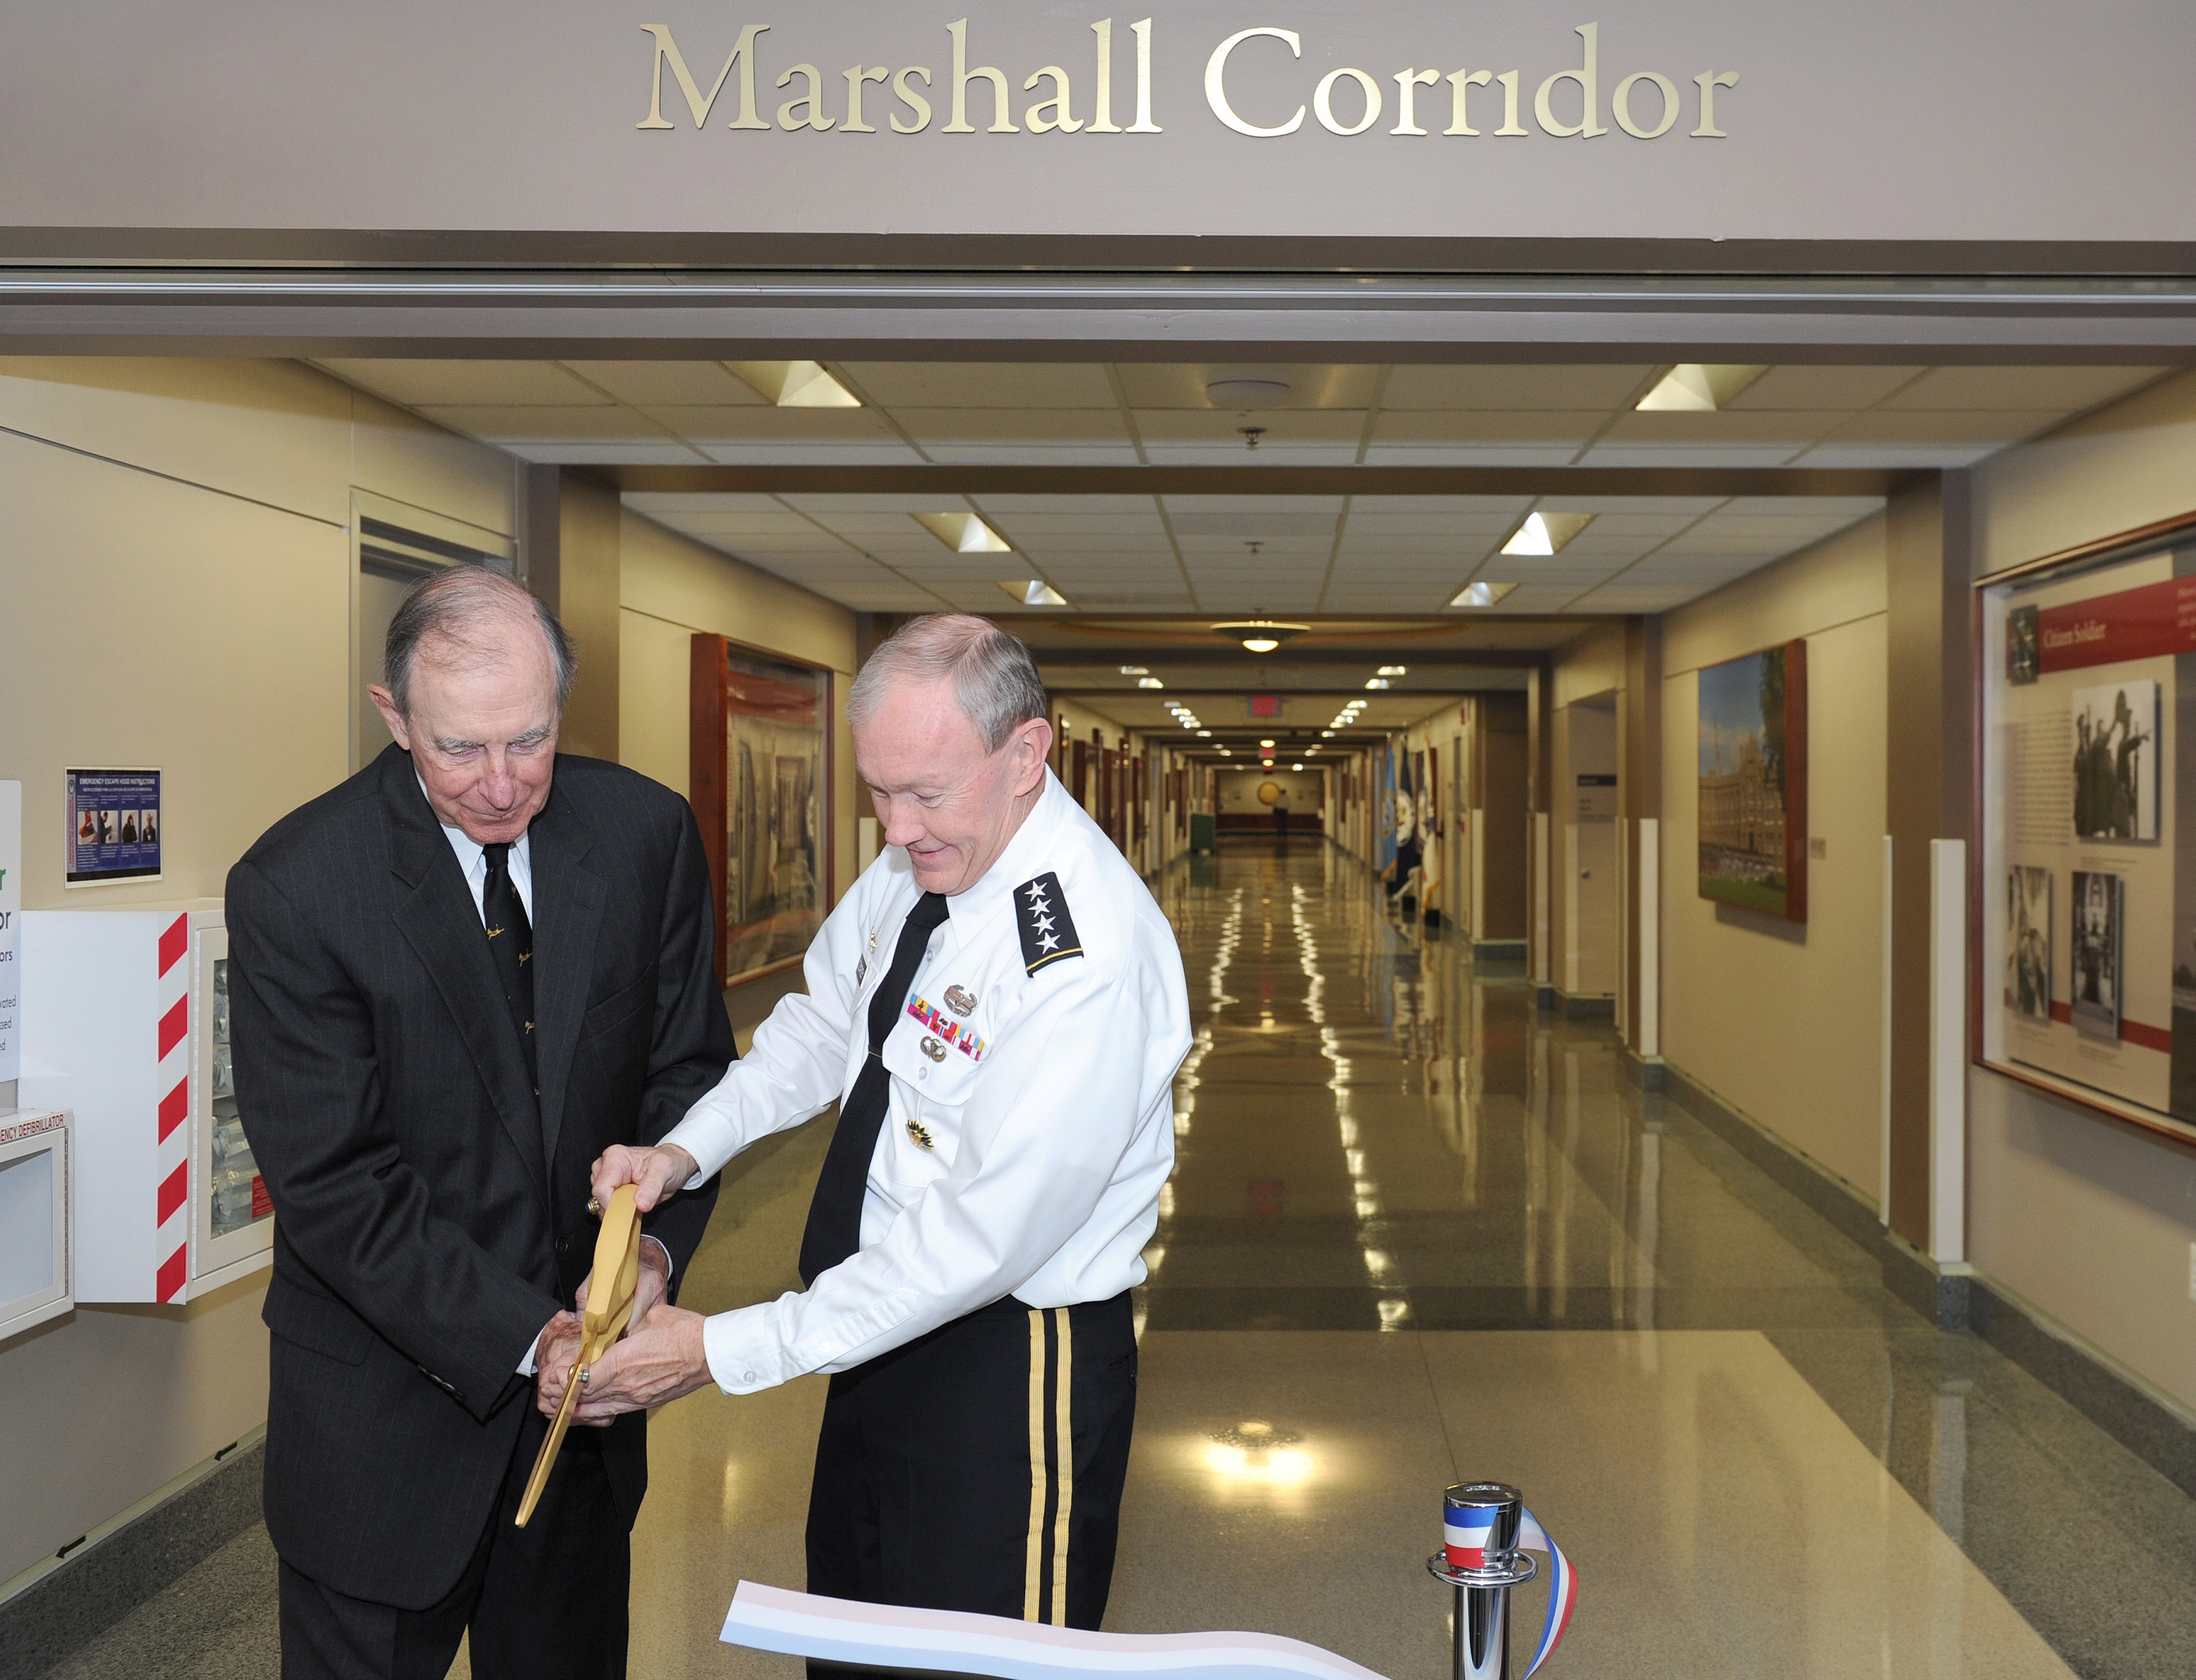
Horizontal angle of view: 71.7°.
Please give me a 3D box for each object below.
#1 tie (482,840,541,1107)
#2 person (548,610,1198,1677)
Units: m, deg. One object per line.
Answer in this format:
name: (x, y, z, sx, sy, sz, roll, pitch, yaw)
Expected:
tie: (-1.002, 0.194, 2.624, 0.068, 0.515, 0.075, -17, -17, 5)
person: (-0.321, 0.487, 2.542, 0.864, 1.185, 0.674, 0, 0, 26)
